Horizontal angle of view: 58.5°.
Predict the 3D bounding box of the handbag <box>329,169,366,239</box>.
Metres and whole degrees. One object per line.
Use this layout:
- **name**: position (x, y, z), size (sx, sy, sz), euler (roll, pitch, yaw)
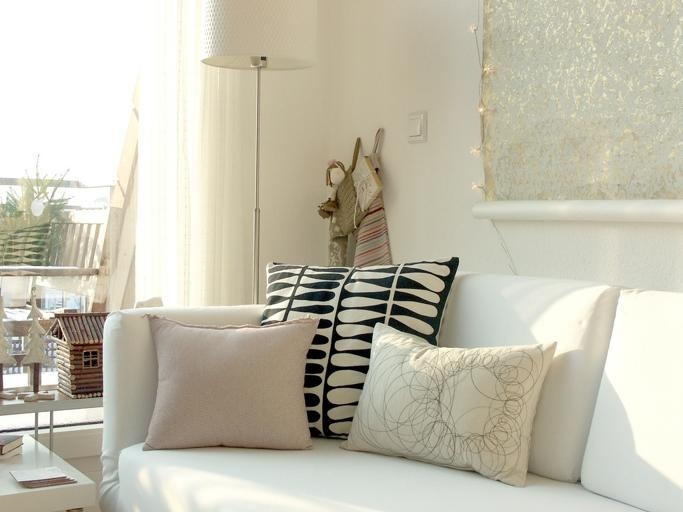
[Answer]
- **handbag**: position (-0.001, -0.260, 2.971), size (0.106, 0.276, 0.208), euler (-2, -17, -24)
